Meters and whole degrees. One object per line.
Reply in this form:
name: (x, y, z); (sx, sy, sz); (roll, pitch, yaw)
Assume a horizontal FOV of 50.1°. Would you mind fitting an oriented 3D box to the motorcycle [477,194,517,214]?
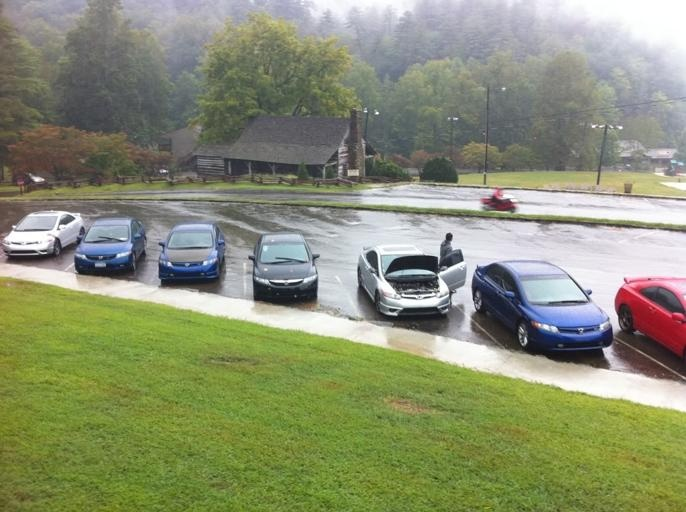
motorcycle: (9.771, -3.352, 45.970); (1.919, 0.991, 2.309); (-2, 8, -40)
